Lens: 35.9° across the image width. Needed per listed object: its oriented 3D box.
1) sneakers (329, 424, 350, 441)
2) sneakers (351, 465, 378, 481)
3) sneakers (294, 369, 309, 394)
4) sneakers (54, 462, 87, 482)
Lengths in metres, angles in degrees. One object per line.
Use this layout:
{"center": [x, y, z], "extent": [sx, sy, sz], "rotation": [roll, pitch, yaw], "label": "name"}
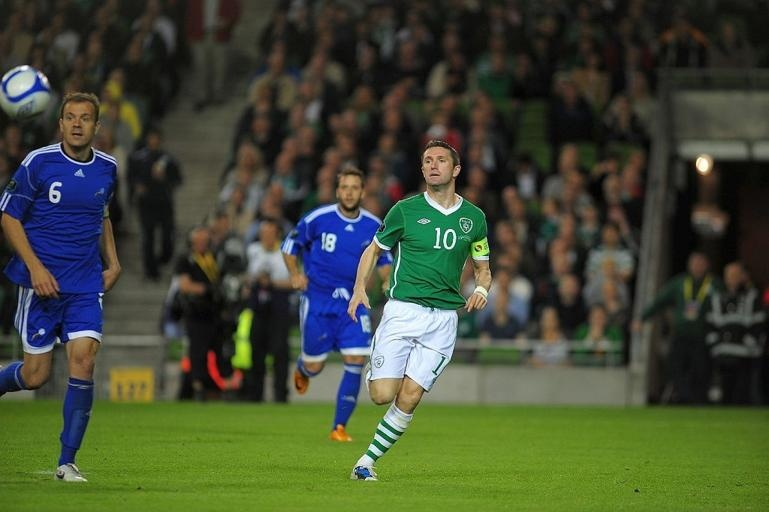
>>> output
{"center": [-0.610, 2.341, 15.667], "extent": [0.150, 0.126, 0.274], "rotation": [6, -6, -42], "label": "sneakers"}
{"center": [-0.242, 2.373, 12.991], "extent": [0.361, 0.156, 0.122], "rotation": [0, -7, 17], "label": "sneakers"}
{"center": [-1.195, 1.787, 16.619], "extent": [0.152, 0.424, 0.181], "rotation": [-8, 24, -11], "label": "sneakers"}
{"center": [-3.348, 2.280, 12.573], "extent": [0.317, 0.142, 0.167], "rotation": [2, -3, 24], "label": "sneakers"}
